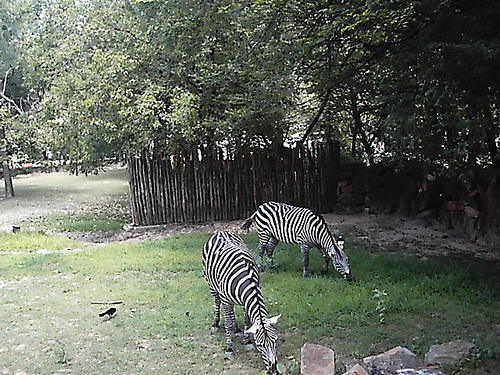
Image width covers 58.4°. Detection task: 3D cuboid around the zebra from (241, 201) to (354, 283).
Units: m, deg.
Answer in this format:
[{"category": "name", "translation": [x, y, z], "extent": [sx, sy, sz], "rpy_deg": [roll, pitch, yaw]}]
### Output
[{"category": "zebra", "translation": [1.215, 1.464, 11.812], "extent": [3.156, 1.852, 0.826], "rpy_deg": [9, 8, 31]}]
